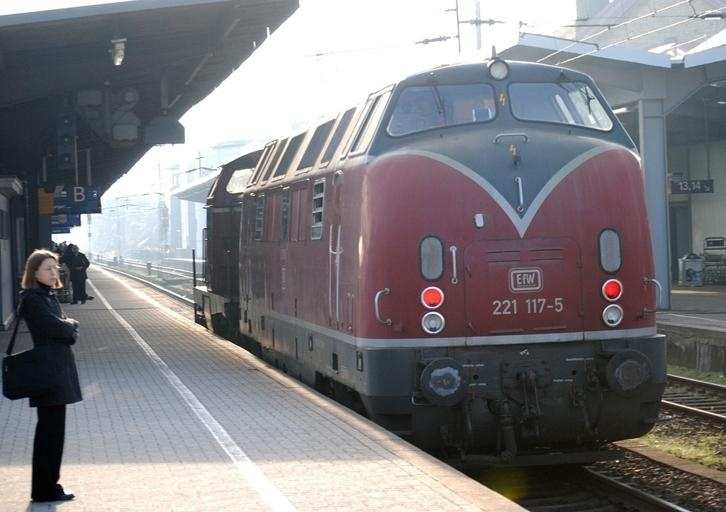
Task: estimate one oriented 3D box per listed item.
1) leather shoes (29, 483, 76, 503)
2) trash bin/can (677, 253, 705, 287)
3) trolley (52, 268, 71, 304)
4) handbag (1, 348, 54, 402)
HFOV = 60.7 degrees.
[{"bbox_3d":[-2.712,2.107,5.506,0.407,0.187,0.138,-4,3,-7],"label":"leather shoes"},{"bbox_3d":[16.261,0.745,30.704,0.971,1.406,0.961,0,2,24],"label":"trash bin/can"},{"bbox_3d":[-13.388,1.283,28.159,1.001,1.694,0.970,0,3,7],"label":"trolley"},{"bbox_3d":[-2.962,1.041,5.425,0.470,0.427,0.143,-1,1,8],"label":"handbag"}]
